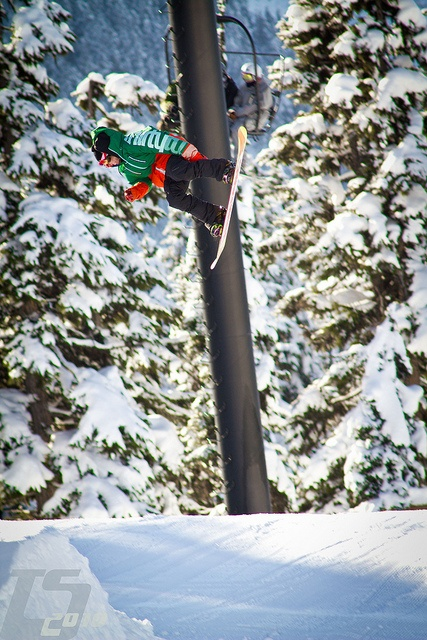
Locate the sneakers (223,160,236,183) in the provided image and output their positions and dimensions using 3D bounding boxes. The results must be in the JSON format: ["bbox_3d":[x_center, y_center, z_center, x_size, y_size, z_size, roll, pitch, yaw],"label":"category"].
[{"bbox_3d":[0.155,-1.696,11.428,0.142,0.216,0.061,6,22,-19],"label":"sneakers"}]

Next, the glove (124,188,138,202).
[{"bbox_3d":[-1.001,-1.463,11.694,0.145,0.176,0.071,2,-5,-22],"label":"glove"}]

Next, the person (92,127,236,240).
[{"bbox_3d":[-0.598,-1.795,11.613,1.817,0.895,0.756,33,40,14],"label":"person"}]

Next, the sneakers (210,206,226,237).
[{"bbox_3d":[0.038,-1.163,11.788,0.149,0.322,0.168,5,6,-5],"label":"sneakers"}]

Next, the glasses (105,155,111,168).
[{"bbox_3d":[-1.223,-1.857,11.591,0.094,0.102,0.078,-1,-3,3],"label":"glasses"}]
